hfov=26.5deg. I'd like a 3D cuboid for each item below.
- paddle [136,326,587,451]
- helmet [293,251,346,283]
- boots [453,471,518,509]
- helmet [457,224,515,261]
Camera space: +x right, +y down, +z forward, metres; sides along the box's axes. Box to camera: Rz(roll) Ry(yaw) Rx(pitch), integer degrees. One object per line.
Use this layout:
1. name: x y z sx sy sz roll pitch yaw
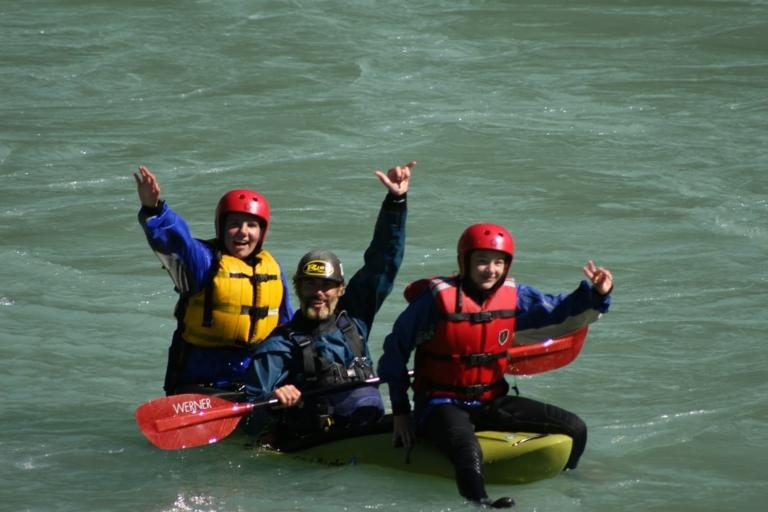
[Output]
1. paddle: -0.301 1.677 20.379 6.166 0.793 0.210 -9 50 -1
2. helmet: -0.834 0.144 20.446 0.620 0.400 0.284 -1 21 -2
3. boots: 1.169 2.812 19.959 0.794 0.418 0.684 2 5 7
4. helmet: 1.238 -0.192 20.260 0.501 0.368 0.565 13 2 -10
